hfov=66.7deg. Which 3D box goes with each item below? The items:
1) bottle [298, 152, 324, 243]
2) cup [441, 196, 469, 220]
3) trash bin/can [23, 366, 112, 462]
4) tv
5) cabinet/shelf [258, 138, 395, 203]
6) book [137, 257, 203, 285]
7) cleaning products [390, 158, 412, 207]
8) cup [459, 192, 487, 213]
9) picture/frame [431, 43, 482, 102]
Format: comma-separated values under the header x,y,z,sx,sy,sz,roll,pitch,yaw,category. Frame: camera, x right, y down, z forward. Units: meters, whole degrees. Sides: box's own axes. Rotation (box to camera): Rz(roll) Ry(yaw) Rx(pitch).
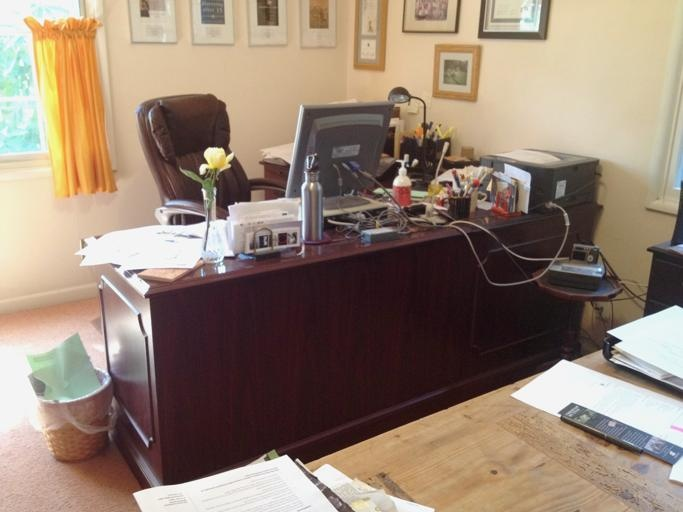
x,y,z,sx,sy,sz,roll,pitch,yaw,category
-0.126,-0.237,2.160,0.091,0.360,0.148,-3,21,-6,bottle
0.560,-0.235,2.580,0.110,0.113,0.107,-1,4,0,cup
-1.207,0.711,2.472,0.354,0.393,0.396,-1,23,-14,trash bin/can
-0.001,-0.476,2.367,0.537,0.436,0.148,-18,27,-37,tv
-0.057,-0.426,2.620,0.442,0.285,0.435,-11,32,-17,cabinet/shelf
-0.605,0.056,1.894,0.239,0.026,0.123,-16,26,-34,book
0.297,-0.360,2.558,0.089,0.252,0.092,8,34,16,cleaning products
0.698,-0.284,2.690,0.114,0.113,0.155,-10,21,-22,cup
0.789,-1.256,3.523,0.024,0.358,0.363,-16,32,-36,picture/frame
